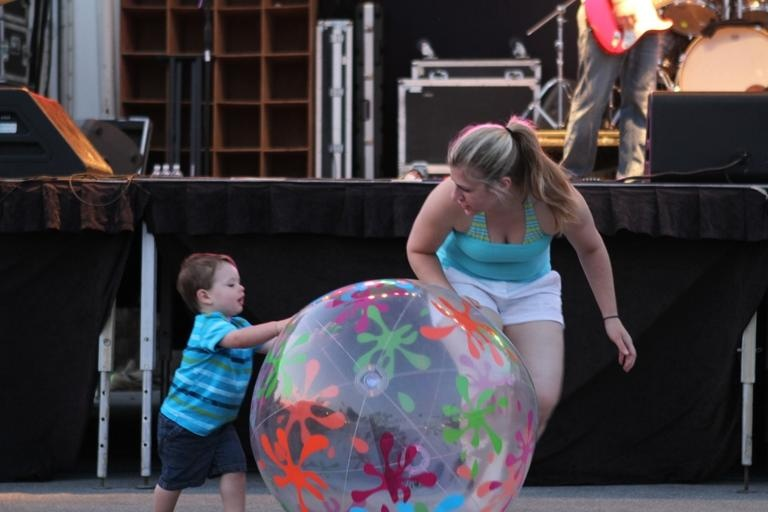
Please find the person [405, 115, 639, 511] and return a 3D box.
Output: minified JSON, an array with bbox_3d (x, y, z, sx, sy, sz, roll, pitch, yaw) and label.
[{"bbox_3d":[0.810,0.351,6.142,1.230,2.140,0.970,1,15,4],"label":"person"}]
